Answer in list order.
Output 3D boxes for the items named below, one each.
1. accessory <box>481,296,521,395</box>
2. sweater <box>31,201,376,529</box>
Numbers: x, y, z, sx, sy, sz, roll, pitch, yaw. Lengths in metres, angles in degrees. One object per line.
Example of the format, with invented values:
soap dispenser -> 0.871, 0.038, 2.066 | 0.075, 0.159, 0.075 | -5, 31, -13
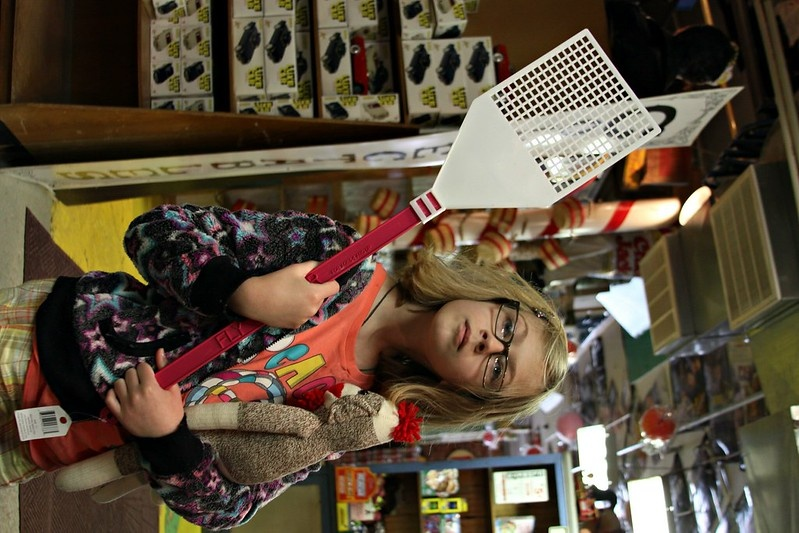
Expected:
accessory -> 0.360, 0.266, 2.458 | 0.112, 0.123, 0.349 | 7, 108, 11
sweater -> -0.730, 0.262, 2.479 | 0.795, 0.789, 1.151 | -2, 100, -12
